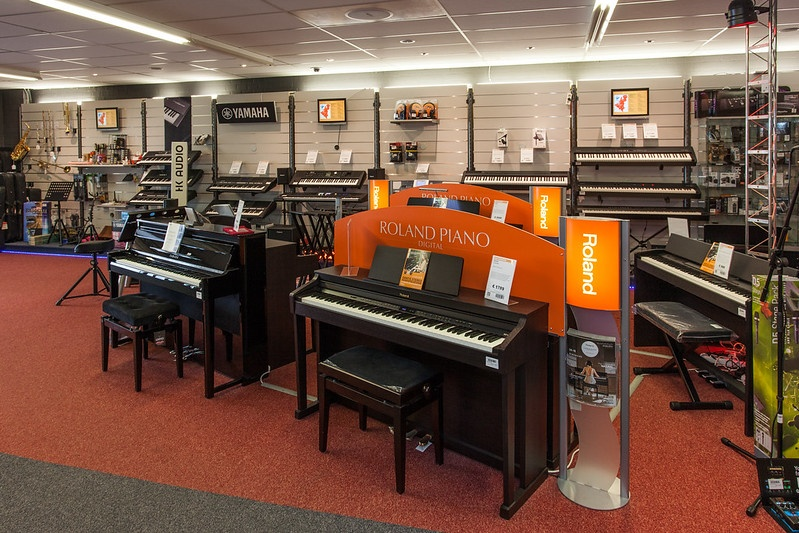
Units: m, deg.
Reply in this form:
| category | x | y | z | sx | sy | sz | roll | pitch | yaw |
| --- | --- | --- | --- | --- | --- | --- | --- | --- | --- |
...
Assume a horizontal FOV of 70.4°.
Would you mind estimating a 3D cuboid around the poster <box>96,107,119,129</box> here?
| category | x | y | z | sx | sy | sz | roll | pitch | yaw |
| --- | --- | --- | --- | --- | --- | --- | --- | --- | --- |
| poster | -6.159 | -3.159 | 11.993 | 0.493 | 0.384 | 0.072 | 5 | 3 | 23 |

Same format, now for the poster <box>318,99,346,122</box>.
| category | x | y | z | sx | sy | sz | roll | pitch | yaw |
| --- | --- | --- | --- | --- | --- | --- | --- | --- | --- |
| poster | -1.207 | -2.877 | 10.391 | 0.457 | 0.333 | 0.160 | 3 | 6 | 19 |

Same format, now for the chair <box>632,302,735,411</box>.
| category | x | y | z | sx | sy | sz | roll | pitch | yaw |
| --- | --- | --- | --- | --- | --- | --- | --- | --- | --- |
| chair | 2.920 | 0.930 | 5.734 | 0.413 | 0.515 | 1.039 | 0 | 8 | 1 |

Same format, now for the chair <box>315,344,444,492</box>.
| category | x | y | z | sx | sy | sz | roll | pitch | yaw |
| --- | --- | --- | --- | --- | --- | --- | --- | --- | --- |
| chair | -0.134 | 1.273 | 4.658 | 1.101 | 0.888 | 0.669 | 9 | 13 | 40 |

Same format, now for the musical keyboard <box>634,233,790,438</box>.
| category | x | y | z | sx | sy | sz | roll | pitch | yaw |
| --- | --- | --- | --- | --- | --- | --- | --- | --- | --- |
| musical keyboard | 2.928 | 0.701 | 5.338 | 0.635 | 1.306 | 1.732 | 3 | 10 | -1 |

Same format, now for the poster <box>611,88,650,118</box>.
| category | x | y | z | sx | sy | sz | roll | pitch | yaw |
| --- | --- | --- | --- | --- | --- | --- | --- | --- | --- |
| poster | 3.721 | -2.635 | 9.049 | 0.505 | 0.365 | 0.068 | 2 | 4 | 17 |
